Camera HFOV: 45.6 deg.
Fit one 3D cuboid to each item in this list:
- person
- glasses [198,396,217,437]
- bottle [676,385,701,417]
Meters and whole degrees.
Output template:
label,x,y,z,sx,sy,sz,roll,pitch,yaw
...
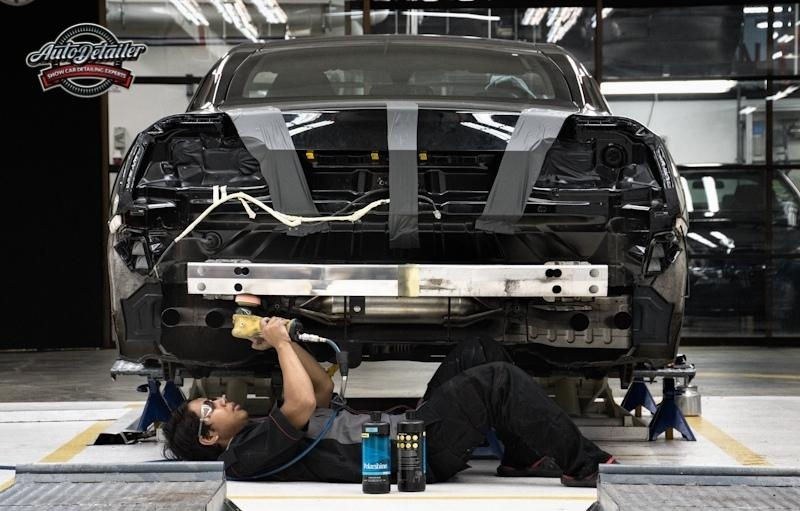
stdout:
label,x,y,z,sx,sy,sz,roll,pitch,yaw
person,-0.061,1.237,8.063,3.796,1.165,1.131,-6,8,4
glasses,-1.591,1.347,7.783,0.135,0.275,0.075,9,0,44
bottle,2.956,1.519,9.999,0.328,0.276,0.312,3,-3,-44
